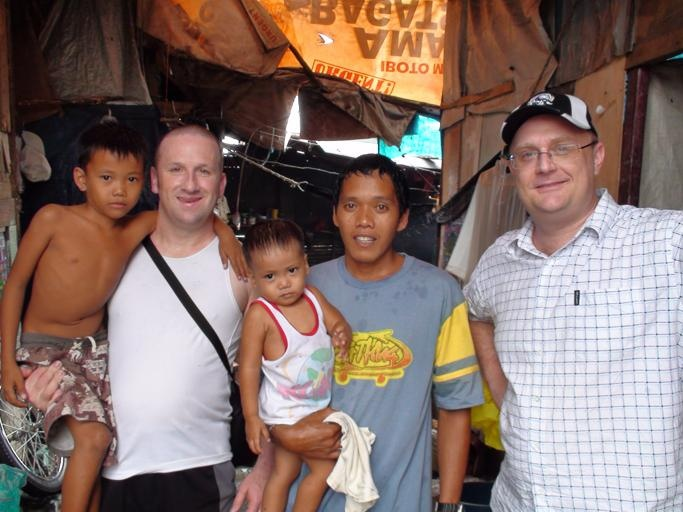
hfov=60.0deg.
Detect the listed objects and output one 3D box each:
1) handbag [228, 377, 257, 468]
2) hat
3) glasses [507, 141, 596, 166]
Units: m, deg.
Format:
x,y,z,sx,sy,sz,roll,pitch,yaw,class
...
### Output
x,y,z,sx,sy,sz,roll,pitch,yaw,class
-0.637,1.080,3.700,0.165,0.576,0.165,8,18,28,handbag
1.105,-0.772,3.195,0.349,0.264,0.477,-2,-5,8,hat
1.066,-0.533,3.082,0.204,0.062,0.236,-17,-15,39,glasses
